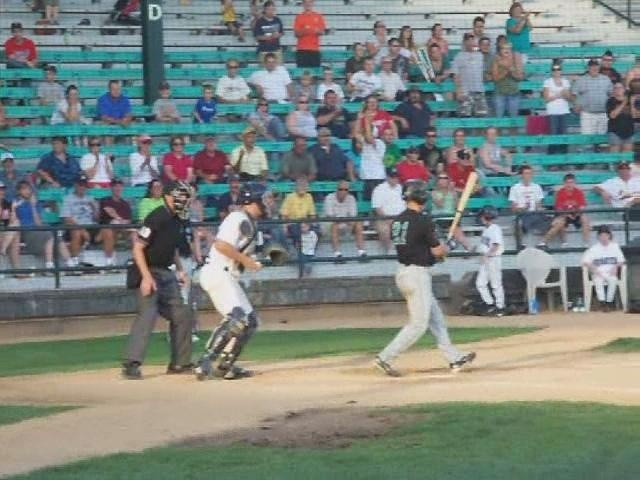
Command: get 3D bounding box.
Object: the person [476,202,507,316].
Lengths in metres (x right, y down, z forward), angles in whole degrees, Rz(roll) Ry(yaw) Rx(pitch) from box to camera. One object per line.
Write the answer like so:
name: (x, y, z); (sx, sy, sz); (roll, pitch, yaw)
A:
person: (3.234, 0.422, 29.408); (0.515, 2.001, 0.471); (3, 8, 34)

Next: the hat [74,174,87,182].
hat: (-4.535, -1.162, 29.856); (0.242, 0.073, 0.222); (-8, 8, -38)

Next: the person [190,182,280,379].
person: (-1.433, 0.692, 24.742); (1.038, 3.038, 0.576); (-1, 6, -1)

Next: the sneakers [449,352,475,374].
sneakers: (2.267, 1.977, 25.061); (0.613, 0.225, 0.192); (-15, -6, -7)

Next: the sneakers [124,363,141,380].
sneakers: (-2.978, 2.085, 24.864); (0.304, 0.261, 0.115); (-2, 6, -10)

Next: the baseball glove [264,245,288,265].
baseball glove: (-0.702, 0.248, 24.872); (0.403, 0.210, 0.349); (3, 12, -15)

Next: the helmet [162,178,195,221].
helmet: (-2.263, -0.622, 24.952); (0.419, 0.607, 0.245); (-2, 6, -5)

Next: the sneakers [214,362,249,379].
sneakers: (-1.357, 2.080, 24.940); (0.271, 0.186, 0.621); (-25, -19, 37)

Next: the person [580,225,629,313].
person: (5.380, 0.563, 29.532); (0.846, 1.572, 0.484); (0, 6, 8)

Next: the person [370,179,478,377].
person: (1.581, 0.681, 24.947); (1.404, 2.936, 0.518); (-1, 6, 3)

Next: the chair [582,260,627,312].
chair: (5.449, 0.877, 29.854); (1.009, 1.107, 0.879); (-1, 11, 9)

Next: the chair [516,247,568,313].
chair: (4.272, 0.778, 29.746); (0.947, 1.217, 0.420); (-3, 6, -15)

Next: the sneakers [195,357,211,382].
sneakers: (-1.839, 2.045, 24.708); (0.261, 0.361, 0.161); (-2, 6, -5)
